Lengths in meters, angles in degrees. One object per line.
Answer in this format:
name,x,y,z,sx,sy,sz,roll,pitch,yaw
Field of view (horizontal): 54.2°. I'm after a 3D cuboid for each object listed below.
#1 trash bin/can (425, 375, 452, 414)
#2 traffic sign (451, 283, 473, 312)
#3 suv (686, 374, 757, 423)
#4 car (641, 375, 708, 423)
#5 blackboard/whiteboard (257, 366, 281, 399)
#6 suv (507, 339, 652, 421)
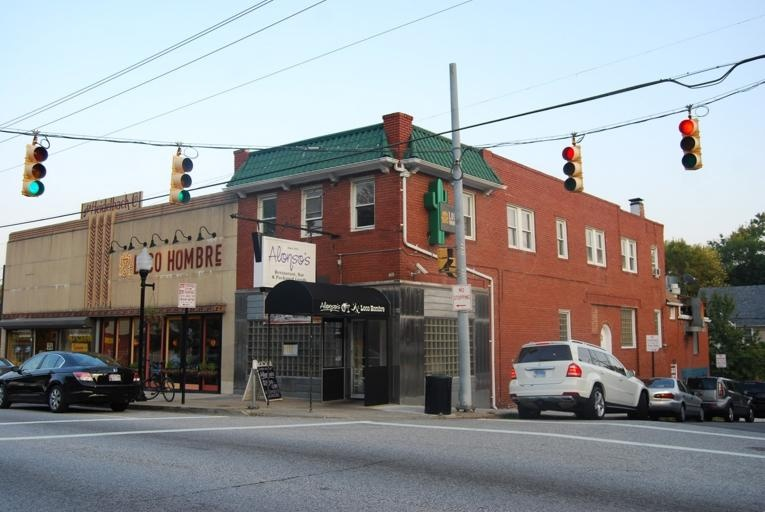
trash bin/can,1.663,4.174,22.571,0.746,1.179,0.446,1,-14,-4
traffic sign,2.431,1.275,23.106,0.589,0.777,0.253,-11,-18,36
suv,13.308,5.595,29.673,1.673,1.424,3.588,-6,-8,40
car,10.097,4.974,26.002,1.260,0.920,2.909,-4,-7,33
blackboard/whiteboard,-3.844,4.202,24.940,0.527,1.137,0.928,-2,-15,10
suv,6.426,3.899,22.966,5.071,2.207,1.926,10,-17,-33
